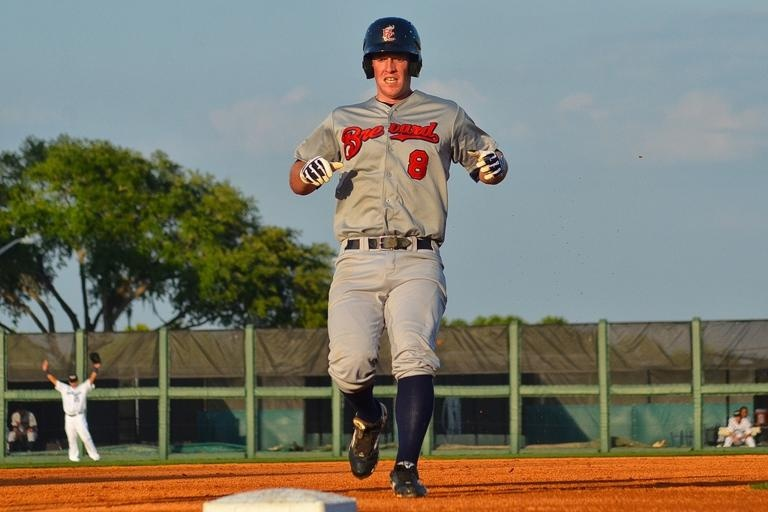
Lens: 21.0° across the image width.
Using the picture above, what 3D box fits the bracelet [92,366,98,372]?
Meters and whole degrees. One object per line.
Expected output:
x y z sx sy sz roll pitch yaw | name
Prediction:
-7.672 3.138 54.739 0.178 0.184 0.113 1 10 0 | bracelet

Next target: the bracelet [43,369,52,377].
-8.963 3.249 55.007 0.210 0.222 0.065 -6 -8 1 | bracelet

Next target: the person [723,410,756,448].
9.068 4.787 53.915 0.757 1.357 0.842 1 2 -6 | person

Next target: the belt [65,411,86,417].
-8.078 4.293 54.116 0.464 0.140 0.117 0 -9 -10 | belt
